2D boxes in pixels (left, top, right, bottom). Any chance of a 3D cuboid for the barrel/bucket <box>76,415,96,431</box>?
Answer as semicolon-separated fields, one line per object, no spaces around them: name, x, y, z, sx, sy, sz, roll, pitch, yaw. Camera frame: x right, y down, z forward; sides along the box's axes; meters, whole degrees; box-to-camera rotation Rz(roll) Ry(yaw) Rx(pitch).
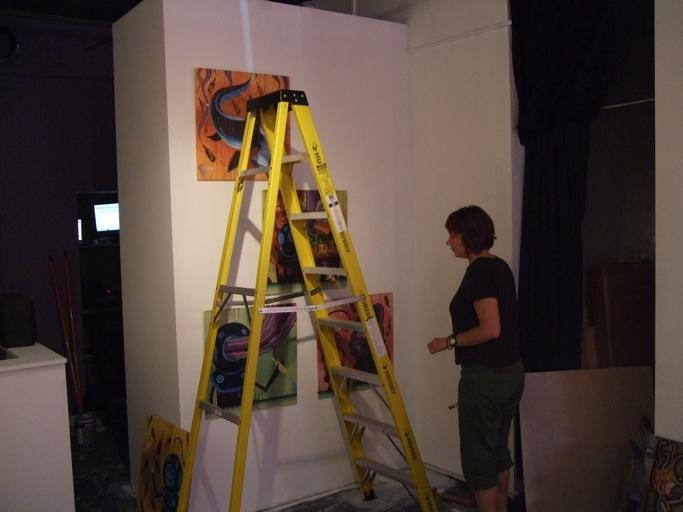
barrel/bucket;-2.244;1.456;5.046;0.148;0.165;0.105;5;-7;-40

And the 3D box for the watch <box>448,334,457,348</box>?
watch;0.627;0.484;3.230;0.053;0.062;0.018;-3;-11;41

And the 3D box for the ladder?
ladder;-0.245;0.365;3.569;1.484;2.008;0.911;-3;1;-19
